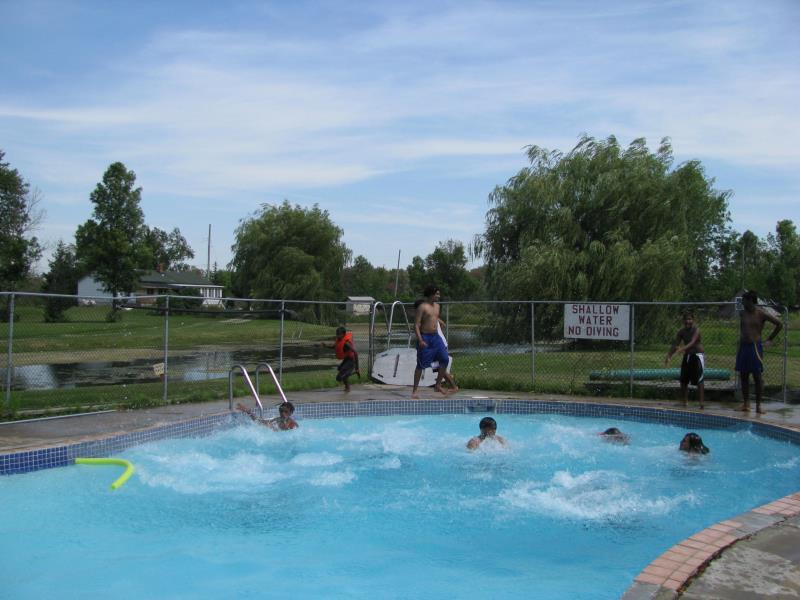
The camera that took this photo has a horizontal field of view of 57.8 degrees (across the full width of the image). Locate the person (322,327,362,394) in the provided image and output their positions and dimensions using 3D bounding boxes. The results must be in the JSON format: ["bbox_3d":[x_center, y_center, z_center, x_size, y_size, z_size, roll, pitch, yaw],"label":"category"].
[{"bbox_3d":[-1.306,1.420,17.476,0.507,1.519,0.603,0,-1,-1],"label":"person"}]

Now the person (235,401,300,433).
[{"bbox_3d":[-2.666,2.385,14.819,0.959,0.508,0.584,2,-4,6],"label":"person"}]

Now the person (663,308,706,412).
[{"bbox_3d":[6.336,1.285,15.854,0.652,2.039,1.255,0,-1,23],"label":"person"}]

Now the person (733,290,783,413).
[{"bbox_3d":[7.420,1.067,15.066,0.746,2.526,0.634,0,-1,26],"label":"person"}]
